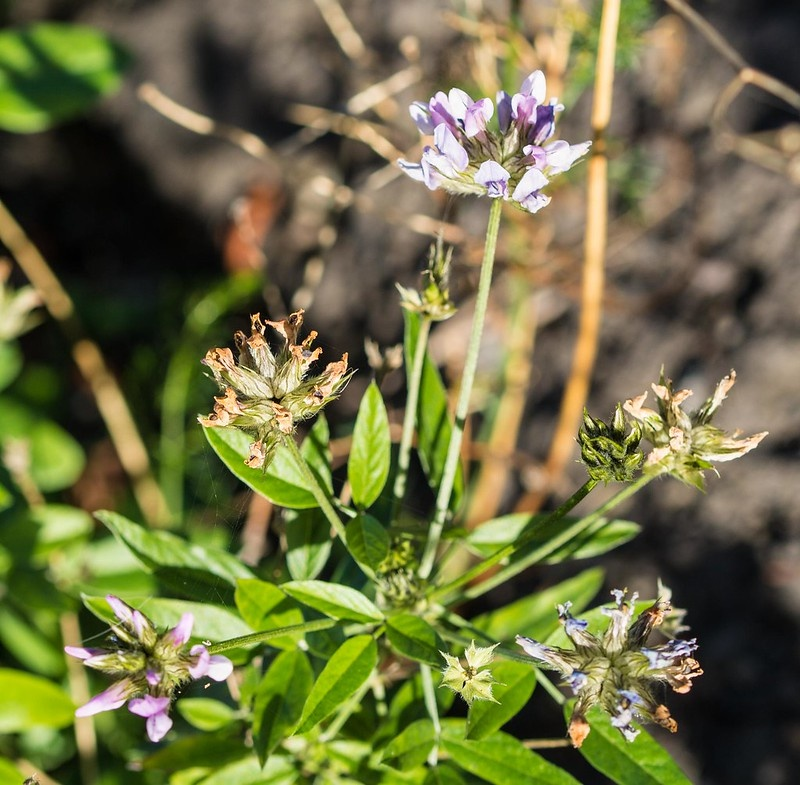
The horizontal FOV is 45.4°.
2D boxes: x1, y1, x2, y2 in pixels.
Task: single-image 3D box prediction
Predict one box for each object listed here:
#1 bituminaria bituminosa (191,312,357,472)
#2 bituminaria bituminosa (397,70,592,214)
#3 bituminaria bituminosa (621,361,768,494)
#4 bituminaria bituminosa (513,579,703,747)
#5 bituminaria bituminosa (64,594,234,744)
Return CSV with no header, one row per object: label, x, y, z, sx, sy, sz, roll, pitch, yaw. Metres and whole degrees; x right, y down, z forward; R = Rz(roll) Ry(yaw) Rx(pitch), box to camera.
bituminaria bituminosa,-0.276,0.009,2.124,0.299,0.374,0.341,13,29,4
bituminaria bituminosa,0.208,-0.536,2.145,0.389,0.310,0.173,22,4,4
bituminaria bituminosa,0.642,0.078,2.086,0.270,0.259,0.214,26,33,27
bituminaria bituminosa,0.475,0.580,2.101,0.374,0.151,0.368,5,70,-1
bituminaria bituminosa,-0.528,0.561,1.986,0.308,0.262,0.205,-2,32,-22
